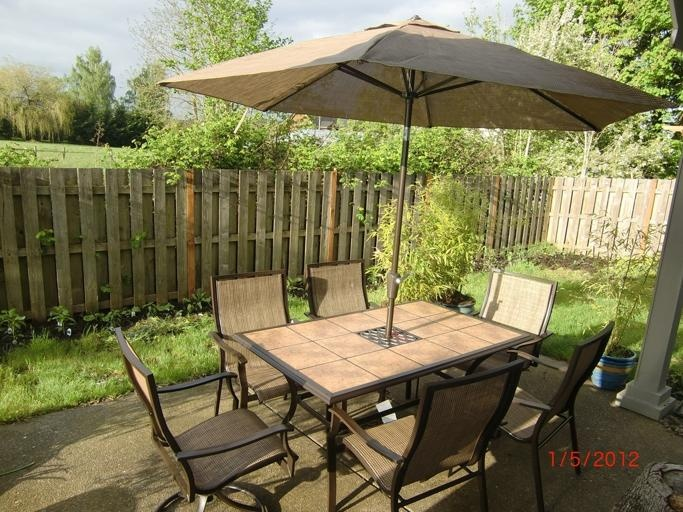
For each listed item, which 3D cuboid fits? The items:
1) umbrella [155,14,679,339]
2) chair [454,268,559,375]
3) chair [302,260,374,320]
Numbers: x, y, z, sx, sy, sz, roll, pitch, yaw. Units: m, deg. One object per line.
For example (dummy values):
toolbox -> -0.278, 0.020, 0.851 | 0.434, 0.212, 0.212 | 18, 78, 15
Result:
umbrella -> 0.536, -0.200, 5.052 | 3.877, 2.242, 3.514 | -6, 9, -41
chair -> 1.554, 0.686, 5.298 | 1.068, 0.858, 0.900 | -9, 17, -31
chair -> -0.077, 0.324, 5.764 | 0.629, 0.825, 0.612 | -5, 10, -26
